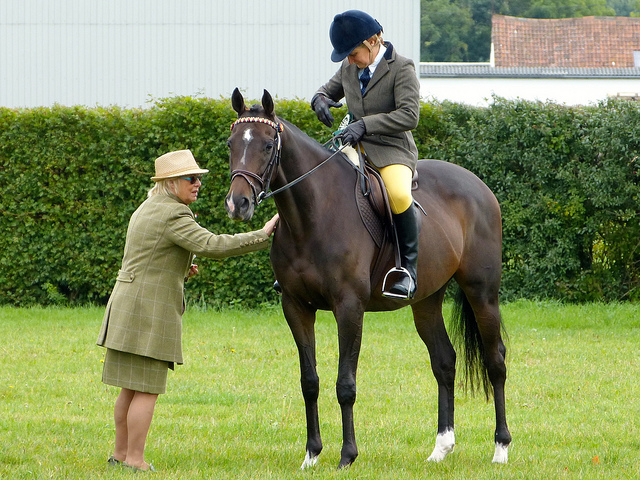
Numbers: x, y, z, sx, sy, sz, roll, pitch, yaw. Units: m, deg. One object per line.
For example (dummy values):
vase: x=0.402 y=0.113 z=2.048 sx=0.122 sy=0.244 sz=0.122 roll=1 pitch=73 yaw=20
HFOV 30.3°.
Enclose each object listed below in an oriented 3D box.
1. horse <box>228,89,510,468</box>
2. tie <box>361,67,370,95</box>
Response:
horse: x=1.021 y=0.939 z=20.804 sx=6.820 sy=6.862 sz=2.234 roll=-1 pitch=1 yaw=-42
tie: x=0.768 y=-2.721 z=19.985 sx=0.084 sy=0.347 sz=0.227 roll=4 pitch=-4 yaw=-4
